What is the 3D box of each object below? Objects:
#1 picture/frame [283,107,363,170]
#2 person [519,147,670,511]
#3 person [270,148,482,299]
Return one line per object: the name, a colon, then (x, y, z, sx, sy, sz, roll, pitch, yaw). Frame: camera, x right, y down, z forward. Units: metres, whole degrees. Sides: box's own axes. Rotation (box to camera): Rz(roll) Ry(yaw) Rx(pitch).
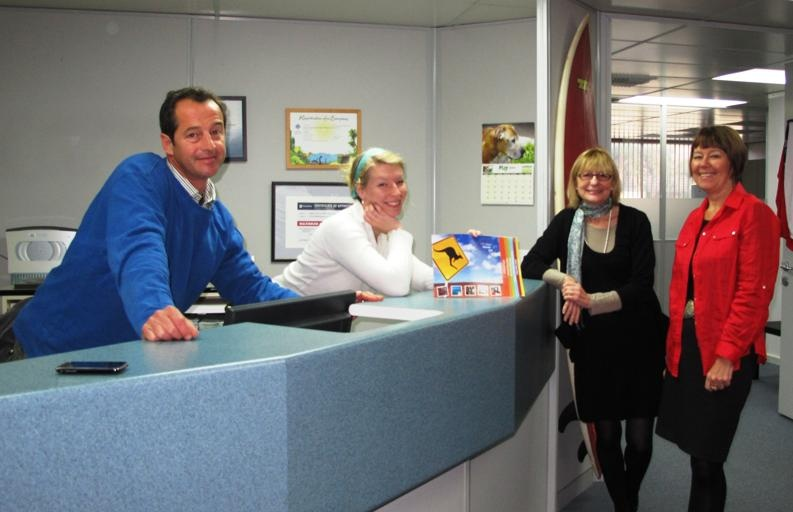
picture/frame: (-0.621, -0.936, 4.692, 0.745, 0.605, 0.032, -1, 0, -3)
person: (1.188, 0.420, 3.435, 0.723, 2.064, 0.428, 2, 12, 25)
person: (-0.150, -0.178, 3.184, 1.330, 0.790, 0.463, 3, 7, 35)
